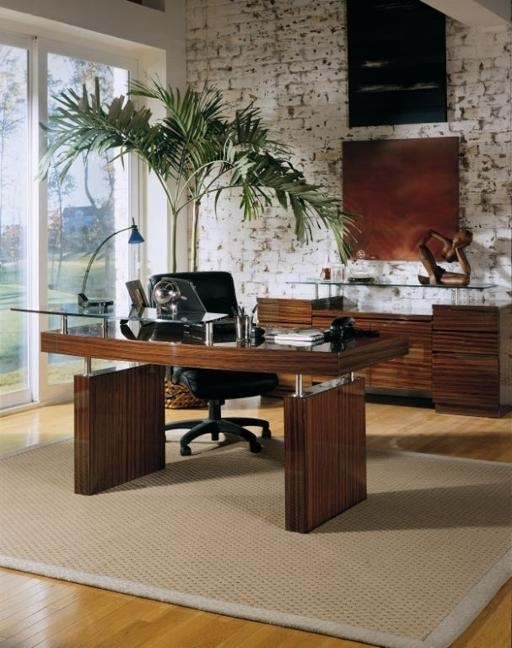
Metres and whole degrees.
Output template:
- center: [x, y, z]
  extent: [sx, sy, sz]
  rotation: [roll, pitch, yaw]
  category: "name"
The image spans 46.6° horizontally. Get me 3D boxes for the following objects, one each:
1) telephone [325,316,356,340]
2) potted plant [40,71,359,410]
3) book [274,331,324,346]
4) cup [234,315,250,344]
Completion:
- center: [0.359, 0.023, 2.566]
  extent: [0.084, 0.071, 0.130]
  rotation: [2, 4, 24]
  category: "telephone"
- center: [-0.135, -0.997, 5.497]
  extent: [3.274, 2.877, 1.932]
  rotation: [-1, 1, -38]
  category: "potted plant"
- center: [0.158, 0.059, 2.470]
  extent: [0.234, 0.045, 0.251]
  rotation: [0, 4, 16]
  category: "book"
- center: [-0.053, 0.017, 2.511]
  extent: [0.065, 0.110, 0.117]
  rotation: [-2, 4, -2]
  category: "cup"
